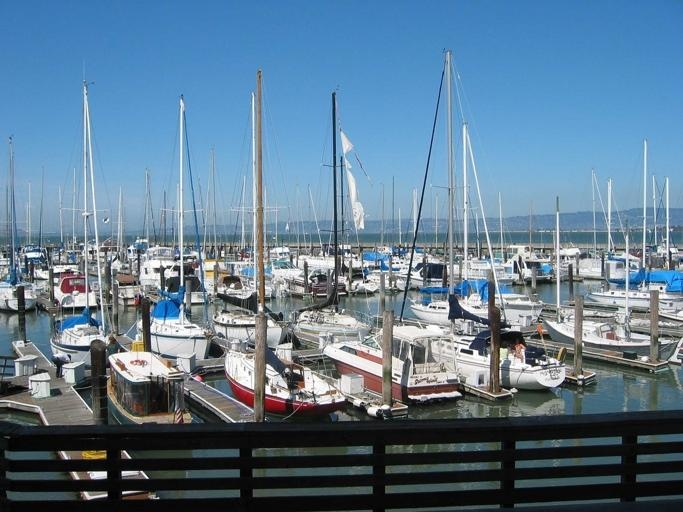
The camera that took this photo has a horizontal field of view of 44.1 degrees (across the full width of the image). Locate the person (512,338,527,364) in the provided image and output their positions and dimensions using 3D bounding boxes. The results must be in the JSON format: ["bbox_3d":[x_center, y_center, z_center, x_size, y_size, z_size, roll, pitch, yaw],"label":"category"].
[{"bbox_3d":[5.073,2.747,24.154,0.383,0.537,0.998,-1,3,12],"label":"person"}]
